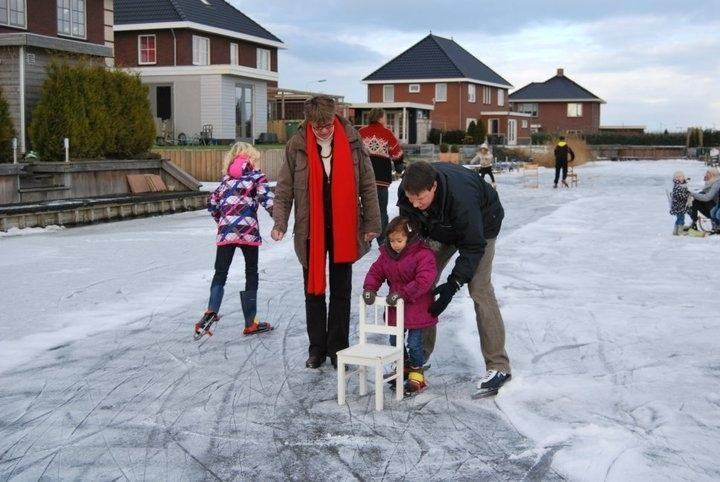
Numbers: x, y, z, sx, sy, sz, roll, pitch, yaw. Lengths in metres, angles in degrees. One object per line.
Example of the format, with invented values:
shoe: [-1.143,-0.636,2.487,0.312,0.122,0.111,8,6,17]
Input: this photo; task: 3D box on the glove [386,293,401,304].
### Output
glove: [0.276,0.490,4.807,0.111,0.097,0.048,3,11,16]

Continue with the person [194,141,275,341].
person: [-1.406,-0.016,6.398,0.856,2.123,0.953,-2,10,-10]

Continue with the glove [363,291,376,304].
glove: [0.081,0.486,4.823,0.115,0.127,0.073,9,14,40]

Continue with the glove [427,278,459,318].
glove: [0.731,0.469,4.833,0.094,0.344,0.219,3,43,-53]

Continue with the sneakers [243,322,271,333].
sneakers: [-1.177,0.978,6.543,0.293,0.131,0.119,-6,8,-18]

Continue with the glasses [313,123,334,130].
glasses: [-0.333,-1.068,5.325,0.193,0.059,0.113,-1,11,-6]
